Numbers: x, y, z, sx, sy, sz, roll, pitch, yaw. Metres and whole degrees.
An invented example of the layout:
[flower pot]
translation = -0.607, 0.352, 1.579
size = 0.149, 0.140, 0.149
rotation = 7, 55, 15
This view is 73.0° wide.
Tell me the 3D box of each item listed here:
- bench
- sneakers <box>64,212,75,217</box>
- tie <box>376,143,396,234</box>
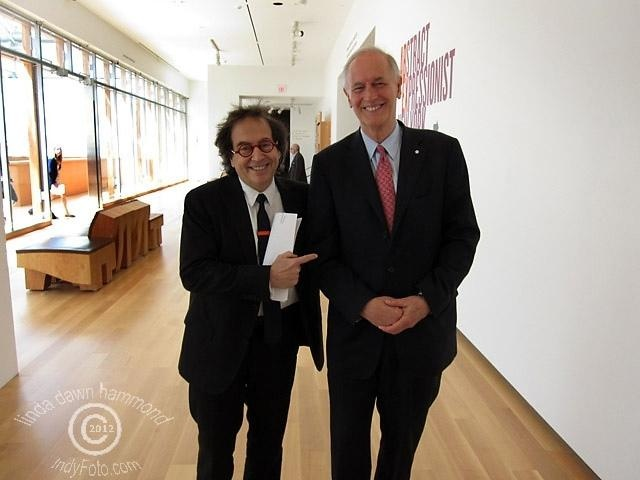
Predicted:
[bench]
translation = -3.476, 0.334, 5.982
size = 0.977, 0.618, 0.629
rotation = 0, 14, -1
[sneakers]
translation = -6.423, -0.639, 11.078
size = 0.251, 0.080, 0.097
rotation = 4, 13, 29
[tie]
translation = 0.319, -0.266, 2.091
size = 0.066, 0.469, 0.047
rotation = -4, -10, 7
